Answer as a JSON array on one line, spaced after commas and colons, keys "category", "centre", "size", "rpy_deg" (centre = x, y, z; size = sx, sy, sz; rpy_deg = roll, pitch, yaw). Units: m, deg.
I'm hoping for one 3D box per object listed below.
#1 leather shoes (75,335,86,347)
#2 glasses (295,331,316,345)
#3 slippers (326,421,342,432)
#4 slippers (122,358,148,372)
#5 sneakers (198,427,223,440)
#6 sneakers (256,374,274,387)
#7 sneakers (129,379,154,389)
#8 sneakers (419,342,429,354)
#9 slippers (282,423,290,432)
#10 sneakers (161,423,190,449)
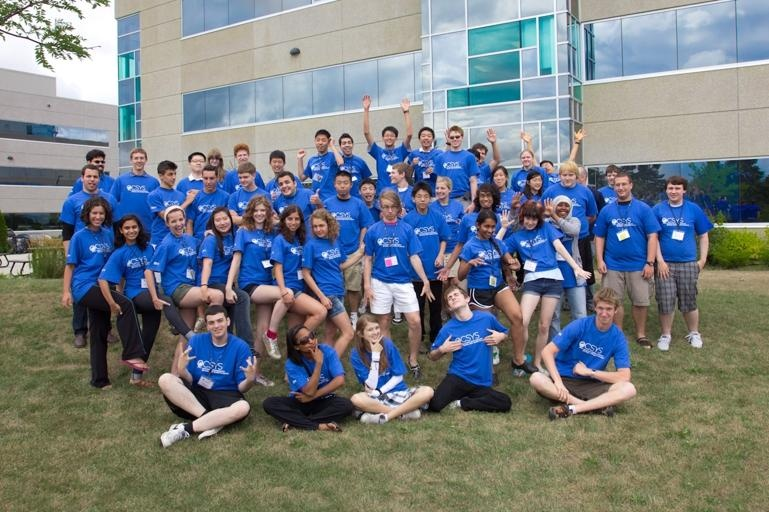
[{"category": "leather shoes", "centre": [-5.878, 1.703, 12.352], "size": [0.154, 0.107, 0.279], "rpy_deg": [4, 21, -35]}, {"category": "glasses", "centre": [-1.186, 1.312, 10.040], "size": [0.152, 0.176, 0.305], "rpy_deg": [4, 8, 44]}, {"category": "slippers", "centre": [-0.759, 2.732, 10.029], "size": [0.139, 0.059, 0.150], "rpy_deg": [24, 0, -3]}, {"category": "slippers", "centre": [-4.343, 1.958, 11.157], "size": [0.409, 0.292, 0.354], "rpy_deg": [-4, 6, -22]}, {"category": "sneakers", "centre": [-2.691, 2.790, 9.864], "size": [0.396, 0.182, 0.135], "rpy_deg": [4, -6, -30]}, {"category": "sneakers", "centre": [-2.102, 2.232, 11.338], "size": [0.377, 0.177, 0.182], "rpy_deg": [6, 5, 11]}, {"category": "sneakers", "centre": [-4.281, 2.267, 11.261], "size": [0.368, 0.105, 0.164], "rpy_deg": [6, 3, 8]}, {"category": "sneakers", "centre": [0.791, 1.820, 12.285], "size": [0.272, 0.146, 0.430], "rpy_deg": [0, 2, 3]}, {"category": "slippers", "centre": [-1.532, 2.748, 9.993], "size": [0.098, 0.102, 0.103], "rpy_deg": [0, -14, -4]}, {"category": "sneakers", "centre": [-3.216, 2.752, 9.869], "size": [0.256, 0.228, 0.588], "rpy_deg": [-10, 10, 2]}]
